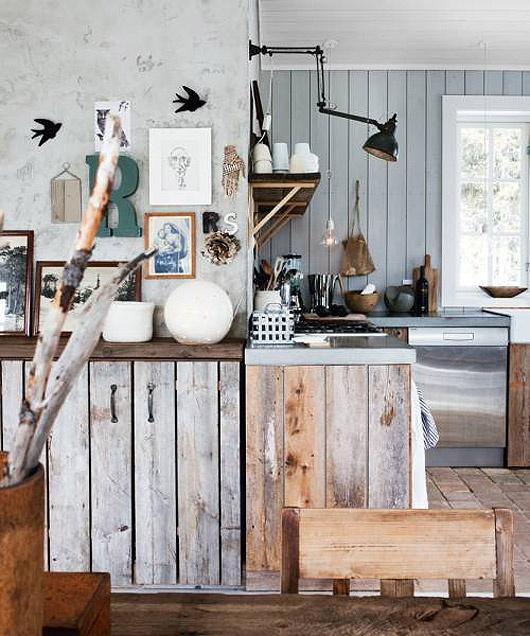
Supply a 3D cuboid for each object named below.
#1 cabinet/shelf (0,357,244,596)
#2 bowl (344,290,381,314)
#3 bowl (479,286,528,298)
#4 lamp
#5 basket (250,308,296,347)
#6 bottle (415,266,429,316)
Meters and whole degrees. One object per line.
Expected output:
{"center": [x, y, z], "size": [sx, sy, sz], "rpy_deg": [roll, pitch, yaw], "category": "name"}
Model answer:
{"center": [-0.458, 0.498, 3.684], "size": [0.685, 0.858, 0.312], "rpy_deg": [0, -1, 1], "category": "cabinet/shelf"}
{"center": [0.504, -0.072, 5.767], "size": [0.169, 0.126, 0.182], "rpy_deg": [-2, 8, 0], "category": "bowl"}
{"center": [1.318, -0.140, 5.988], "size": [0.264, 0.075, 0.196], "rpy_deg": [-3, 8, -4], "category": "bowl"}
{"center": [0.283, -1.034, 5.335], "size": [0.665, 0.600, 1.332], "rpy_deg": [-1, 8, 5], "category": "lamp"}
{"center": [0.023, 0.030, 4.173], "size": [0.164, 0.182, 0.109], "rpy_deg": [0, 5, 1], "category": "basket"}
{"center": [0.829, -0.146, 5.837], "size": [0.074, 0.241, 0.294], "rpy_deg": [0, 8, 9], "category": "bottle"}
